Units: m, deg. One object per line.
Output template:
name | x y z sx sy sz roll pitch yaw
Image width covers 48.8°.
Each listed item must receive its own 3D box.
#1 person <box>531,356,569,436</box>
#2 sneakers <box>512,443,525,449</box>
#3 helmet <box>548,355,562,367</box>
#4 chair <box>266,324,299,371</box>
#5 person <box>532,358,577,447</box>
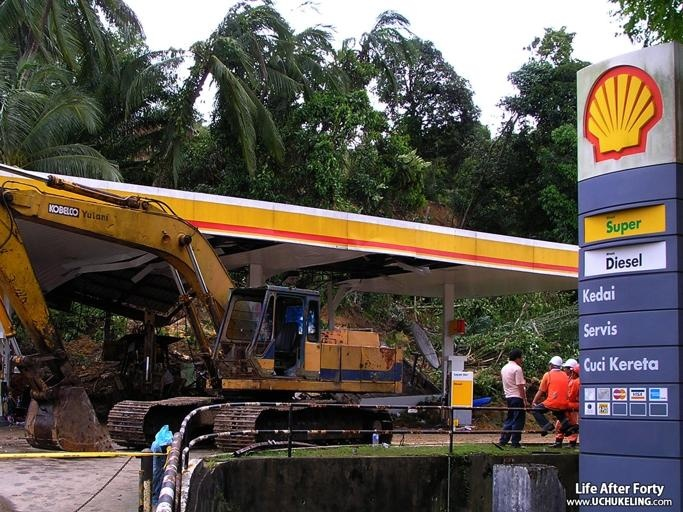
person | 4.094 2.697 14.723 0.674 1.630 2.683 -2 -11 16
sneakers | 3.223 3.454 13.740 0.135 0.117 0.045 -2 -12 -12
helmet | 4.137 2.031 14.465 0.294 0.364 0.272 -1 -7 19
chair | -1.134 1.873 15.307 0.616 1.056 0.770 4 1 18
person | 4.034 2.634 14.336 0.610 1.506 0.632 6 -11 -21
